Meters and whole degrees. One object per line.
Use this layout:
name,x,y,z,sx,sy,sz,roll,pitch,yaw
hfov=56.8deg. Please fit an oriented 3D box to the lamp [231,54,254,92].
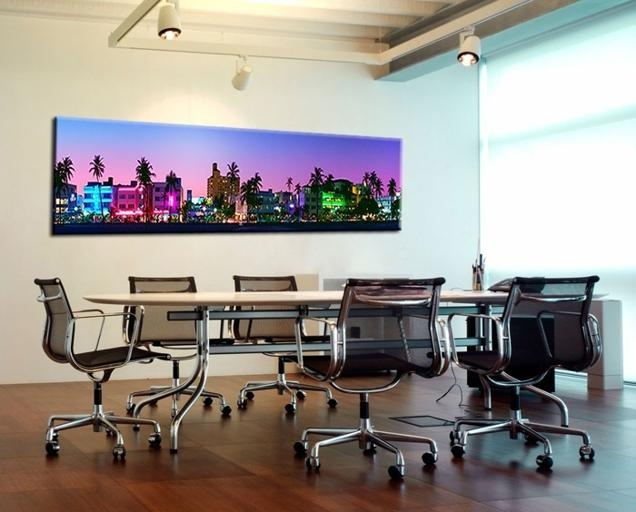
lamp,-0.786,-1.913,6.175,0.250,0.197,0.258,38,-33,6

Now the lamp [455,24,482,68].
lamp,1.293,-1.801,5.035,0.177,0.297,0.110,6,-25,-5
